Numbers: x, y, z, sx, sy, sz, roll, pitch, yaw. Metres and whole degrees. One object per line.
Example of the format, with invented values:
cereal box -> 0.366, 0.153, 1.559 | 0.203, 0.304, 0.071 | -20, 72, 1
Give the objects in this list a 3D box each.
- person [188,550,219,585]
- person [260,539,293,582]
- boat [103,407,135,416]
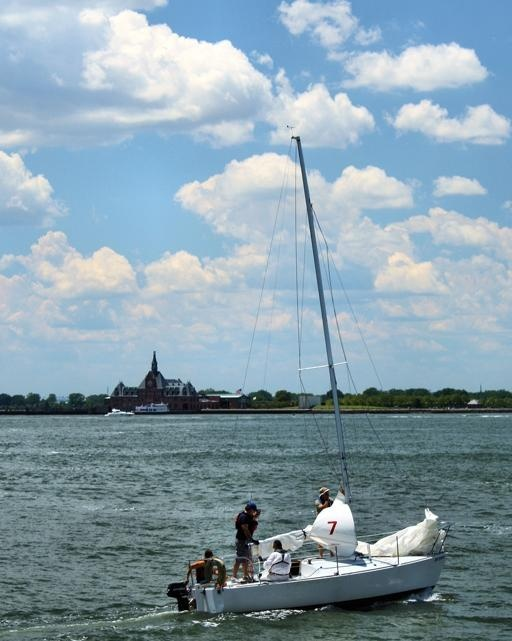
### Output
person -> -1.493, 7.063, 30.268 | 0.724, 0.960, 1.109 | -2, -6, -6
person -> 0.563, 6.918, 30.303 | 0.920, 1.293, 0.901 | 4, -8, -14
boat -> -41.671, 28.323, 326.916 | 5.804, 1.863, 2.142 | 0, 4, -5
